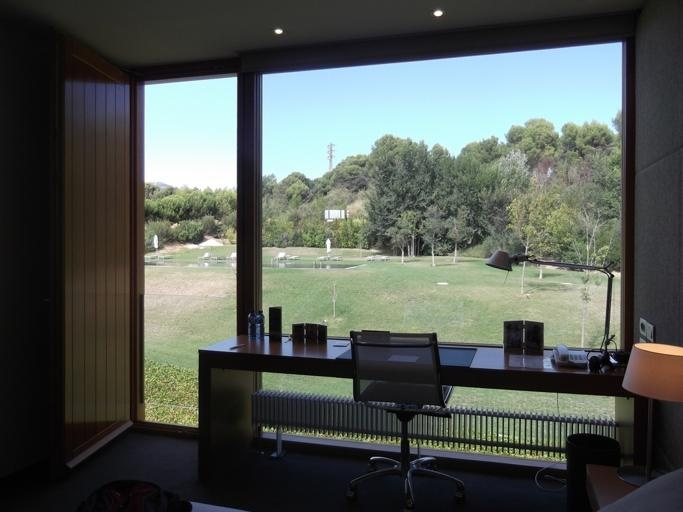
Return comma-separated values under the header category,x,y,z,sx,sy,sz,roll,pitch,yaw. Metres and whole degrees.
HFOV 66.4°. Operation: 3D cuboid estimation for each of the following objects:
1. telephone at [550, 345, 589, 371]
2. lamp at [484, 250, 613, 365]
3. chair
category,x,y,z,sx,sy,sz,roll,pitch,yaw
telephone,1.754,0.757,4.045,0.236,0.137,0.359,3,5,16
lamp,1.840,0.363,4.372,0.866,0.825,1.260,5,6,38
chair,0.495,1.184,4.397,1.076,1.602,1.195,0,0,16
